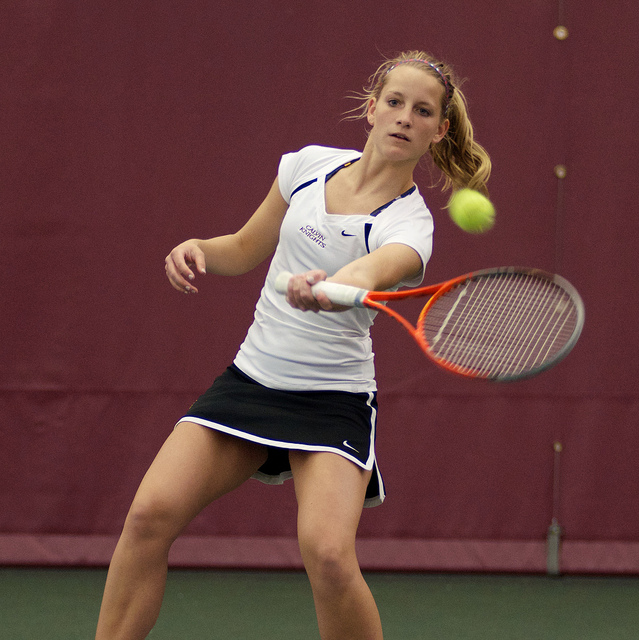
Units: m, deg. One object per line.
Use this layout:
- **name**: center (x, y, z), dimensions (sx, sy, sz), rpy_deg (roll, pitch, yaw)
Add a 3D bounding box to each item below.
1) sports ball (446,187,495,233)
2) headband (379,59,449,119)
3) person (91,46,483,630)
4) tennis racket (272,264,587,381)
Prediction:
- **sports ball**: center (0.451, -0.328, 2.744), dimensions (0.103, 0.123, 0.132), rpy_deg (18, 2, -36)
- **headband**: center (0.260, -0.638, 2.481), dimensions (0.189, 0.154, 0.083), rpy_deg (4, 13, 3)
- **person**: center (-0.037, 0.009, 2.429), dimensions (0.848, 1.454, 0.850), rpy_deg (5, 13, 9)
- **tennis racket**: center (0.293, -0.006, 2.523), dimensions (0.837, 0.383, 0.063), rpy_deg (9, -21, -5)
